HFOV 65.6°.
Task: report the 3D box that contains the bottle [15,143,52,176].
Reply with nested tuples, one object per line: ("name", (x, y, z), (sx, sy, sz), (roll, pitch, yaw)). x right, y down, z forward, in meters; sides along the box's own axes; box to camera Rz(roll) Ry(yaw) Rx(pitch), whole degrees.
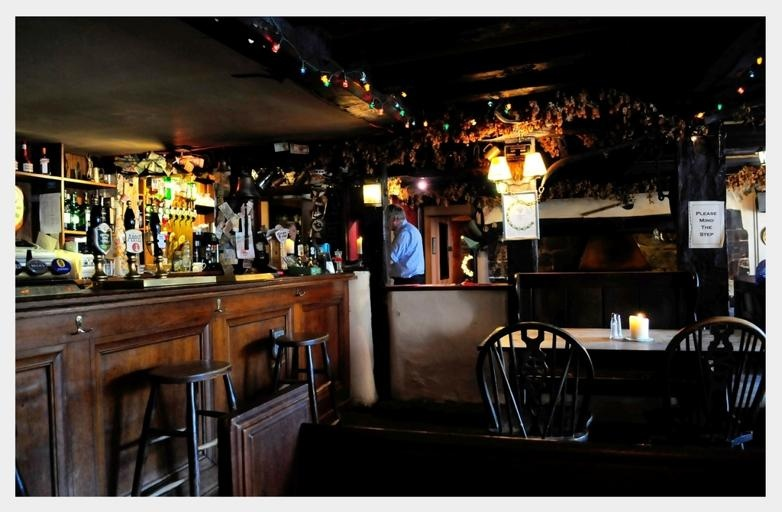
("bottle", (-3.827, -1.048, 6.445), (0.308, 0.369, 0.473), (-1, 2, -8))

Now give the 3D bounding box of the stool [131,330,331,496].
("stool", (-1.096, 0.986, 3.828), (0.377, 0.610, 1.316), (0, -2, 18))

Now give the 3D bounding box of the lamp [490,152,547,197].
("lamp", (1.325, -0.891, 6.376), (0.564, 0.466, 0.454), (-1, 2, 17))

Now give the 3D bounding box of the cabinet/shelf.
("cabinet/shelf", (-3.444, -0.663, 6.358), (0.392, 1.139, 1.270), (-2, -2, 11))

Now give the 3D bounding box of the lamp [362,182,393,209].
("lamp", (-0.192, -0.693, 6.865), (0.317, 0.290, 0.299), (3, 5, 27))

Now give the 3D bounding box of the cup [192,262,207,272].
("cup", (-2.261, 0.123, 7.107), (0.126, 0.112, 0.180), (-7, -3, 39))

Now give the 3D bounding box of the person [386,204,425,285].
("person", (0.177, -0.150, 7.515), (0.422, 0.996, 0.479), (-1, 2, 1))
